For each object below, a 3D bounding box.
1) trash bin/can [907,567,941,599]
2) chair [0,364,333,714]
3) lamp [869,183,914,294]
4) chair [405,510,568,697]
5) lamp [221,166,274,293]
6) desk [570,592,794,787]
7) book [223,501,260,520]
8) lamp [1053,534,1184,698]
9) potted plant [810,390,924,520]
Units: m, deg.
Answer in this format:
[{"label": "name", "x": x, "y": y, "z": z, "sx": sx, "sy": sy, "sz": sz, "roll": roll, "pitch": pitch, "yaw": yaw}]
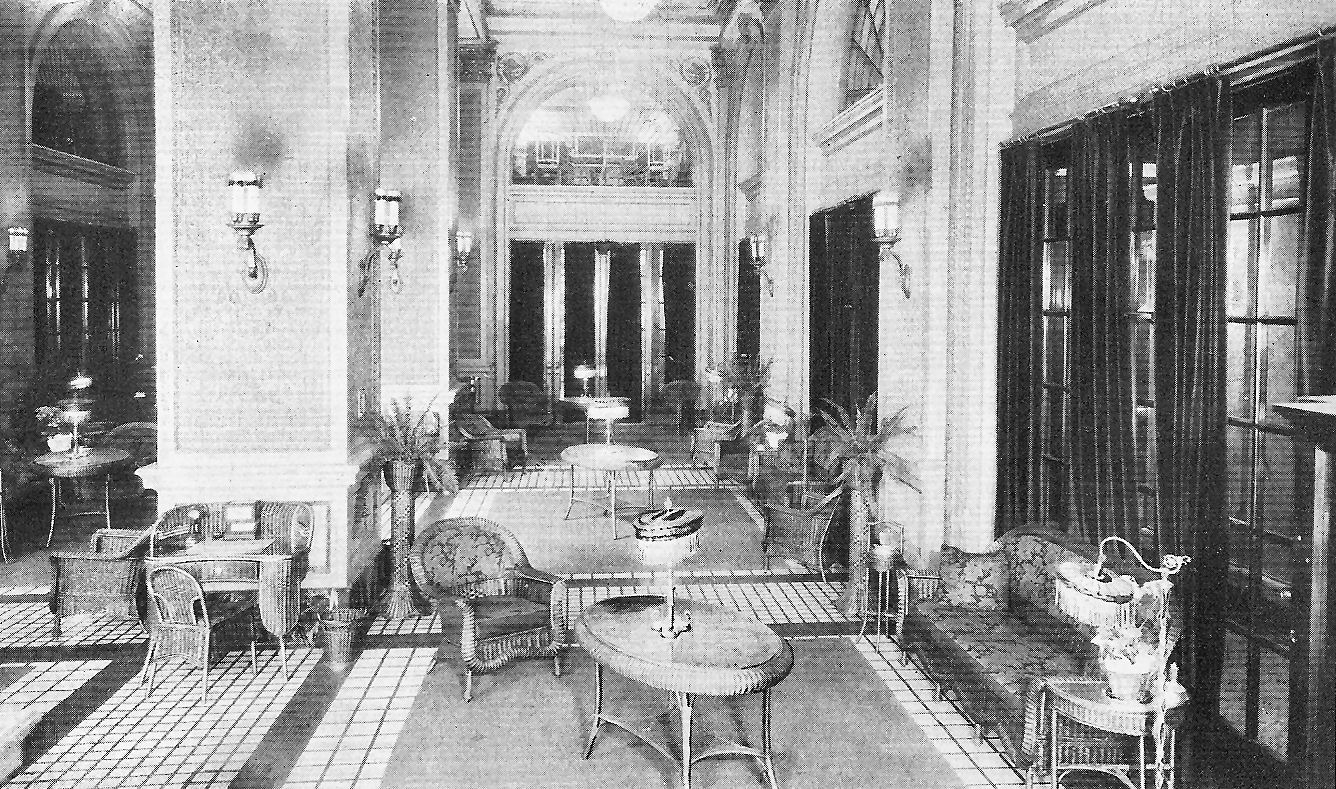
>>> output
[{"label": "trash bin/can", "x": 2.558, "y": 1.879, "z": 11.178, "sx": 0.293, "sy": 0.190, "sz": 0.287, "roll": 0, "pitch": 0, "yaw": -2}, {"label": "chair", "x": -4.839, "y": 1.948, "z": 11.123, "sx": 2.550, "sy": 1.595, "sz": 1.573, "roll": 0, "pitch": 4, "yaw": -5}, {"label": "lamp", "x": 2.392, "y": -1.605, "z": 12.064, "sx": 0.374, "sy": 1.166, "sz": 0.540, "roll": -3, "pitch": 4, "yaw": -2}, {"label": "chair", "x": -1.740, "y": 1.970, "z": 11.146, "sx": 1.354, "sy": 1.452, "sz": 1.665, "roll": -4, "pitch": 8, "yaw": -32}, {"label": "lamp", "x": -4.241, "y": -1.659, "z": 11.382, "sx": 0.388, "sy": 1.243, "sz": 0.594, "roll": -4, "pitch": 4, "yaw": -21}, {"label": "desk", "x": 0.160, "y": 2.221, "z": 9.582, "sx": 1.431, "sy": 1.185, "sz": 1.998, "roll": -3, "pitch": 5, "yaw": -39}, {"label": "book", "x": -4.384, "y": 1.191, "z": 11.595, "sx": 0.266, "sy": 0.135, "sz": 0.177, "roll": 1, "pitch": -3, "yaw": -4}, {"label": "lamp", "x": 3.668, "y": 1.740, "z": 8.904, "sx": 0.778, "sy": 1.276, "sz": 1.537, "roll": 0, "pitch": 4, "yaw": 33}, {"label": "potted plant", "x": 2.212, "y": 0.674, "z": 12.496, "sx": 1.300, "sy": 1.278, "sz": 1.291, "roll": 0, "pitch": 4, "yaw": 5}]
